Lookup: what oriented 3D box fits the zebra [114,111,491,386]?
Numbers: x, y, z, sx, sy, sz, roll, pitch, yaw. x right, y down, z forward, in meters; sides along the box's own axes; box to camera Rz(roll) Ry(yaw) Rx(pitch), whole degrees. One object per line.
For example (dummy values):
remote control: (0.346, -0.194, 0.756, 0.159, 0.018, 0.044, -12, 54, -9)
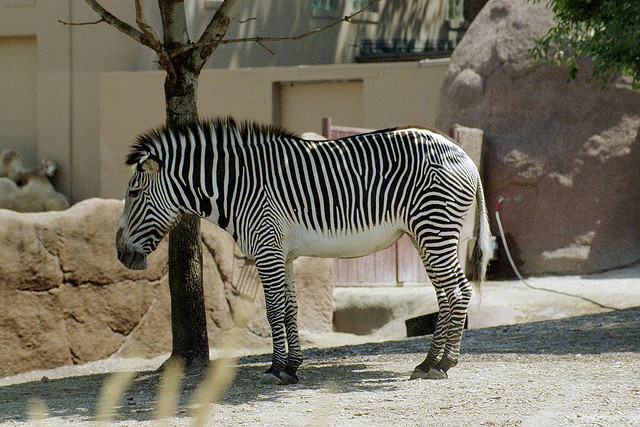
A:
zebra: (-0.274, 0.596, 22.805, 5.944, 4.242, 1.752, -1, -5, 2)
